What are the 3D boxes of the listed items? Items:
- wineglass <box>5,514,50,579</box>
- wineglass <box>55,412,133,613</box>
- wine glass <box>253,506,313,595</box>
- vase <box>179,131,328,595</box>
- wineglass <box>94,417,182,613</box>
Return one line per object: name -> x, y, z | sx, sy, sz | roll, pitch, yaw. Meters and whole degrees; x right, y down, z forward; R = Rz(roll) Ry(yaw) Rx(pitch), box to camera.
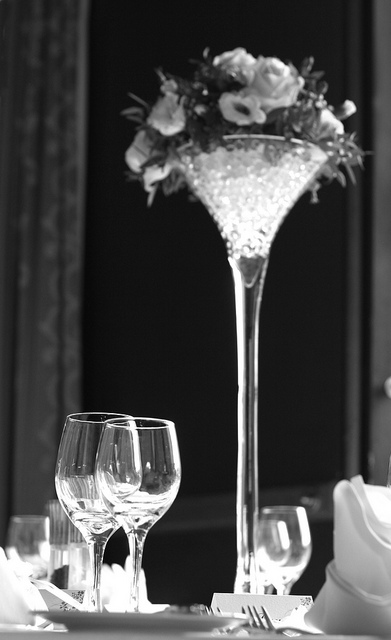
wineglass -> -0.200, 0.270, 0.962 | 0.058, 0.085, 0.059 | -1, -6, 8
wineglass -> -0.079, 0.167, 0.666 | 0.066, 0.169, 0.061 | -5, 16, -38
wine glass -> 0.081, 0.215, 0.756 | 0.051, 0.079, 0.051 | -3, -11, 3
vase -> 0.053, 0.032, 0.818 | 0.147, 0.462, 0.225 | -8, -13, 30
wineglass -> -0.042, 0.142, 0.604 | 0.045, 0.141, 0.058 | -10, -13, 35
